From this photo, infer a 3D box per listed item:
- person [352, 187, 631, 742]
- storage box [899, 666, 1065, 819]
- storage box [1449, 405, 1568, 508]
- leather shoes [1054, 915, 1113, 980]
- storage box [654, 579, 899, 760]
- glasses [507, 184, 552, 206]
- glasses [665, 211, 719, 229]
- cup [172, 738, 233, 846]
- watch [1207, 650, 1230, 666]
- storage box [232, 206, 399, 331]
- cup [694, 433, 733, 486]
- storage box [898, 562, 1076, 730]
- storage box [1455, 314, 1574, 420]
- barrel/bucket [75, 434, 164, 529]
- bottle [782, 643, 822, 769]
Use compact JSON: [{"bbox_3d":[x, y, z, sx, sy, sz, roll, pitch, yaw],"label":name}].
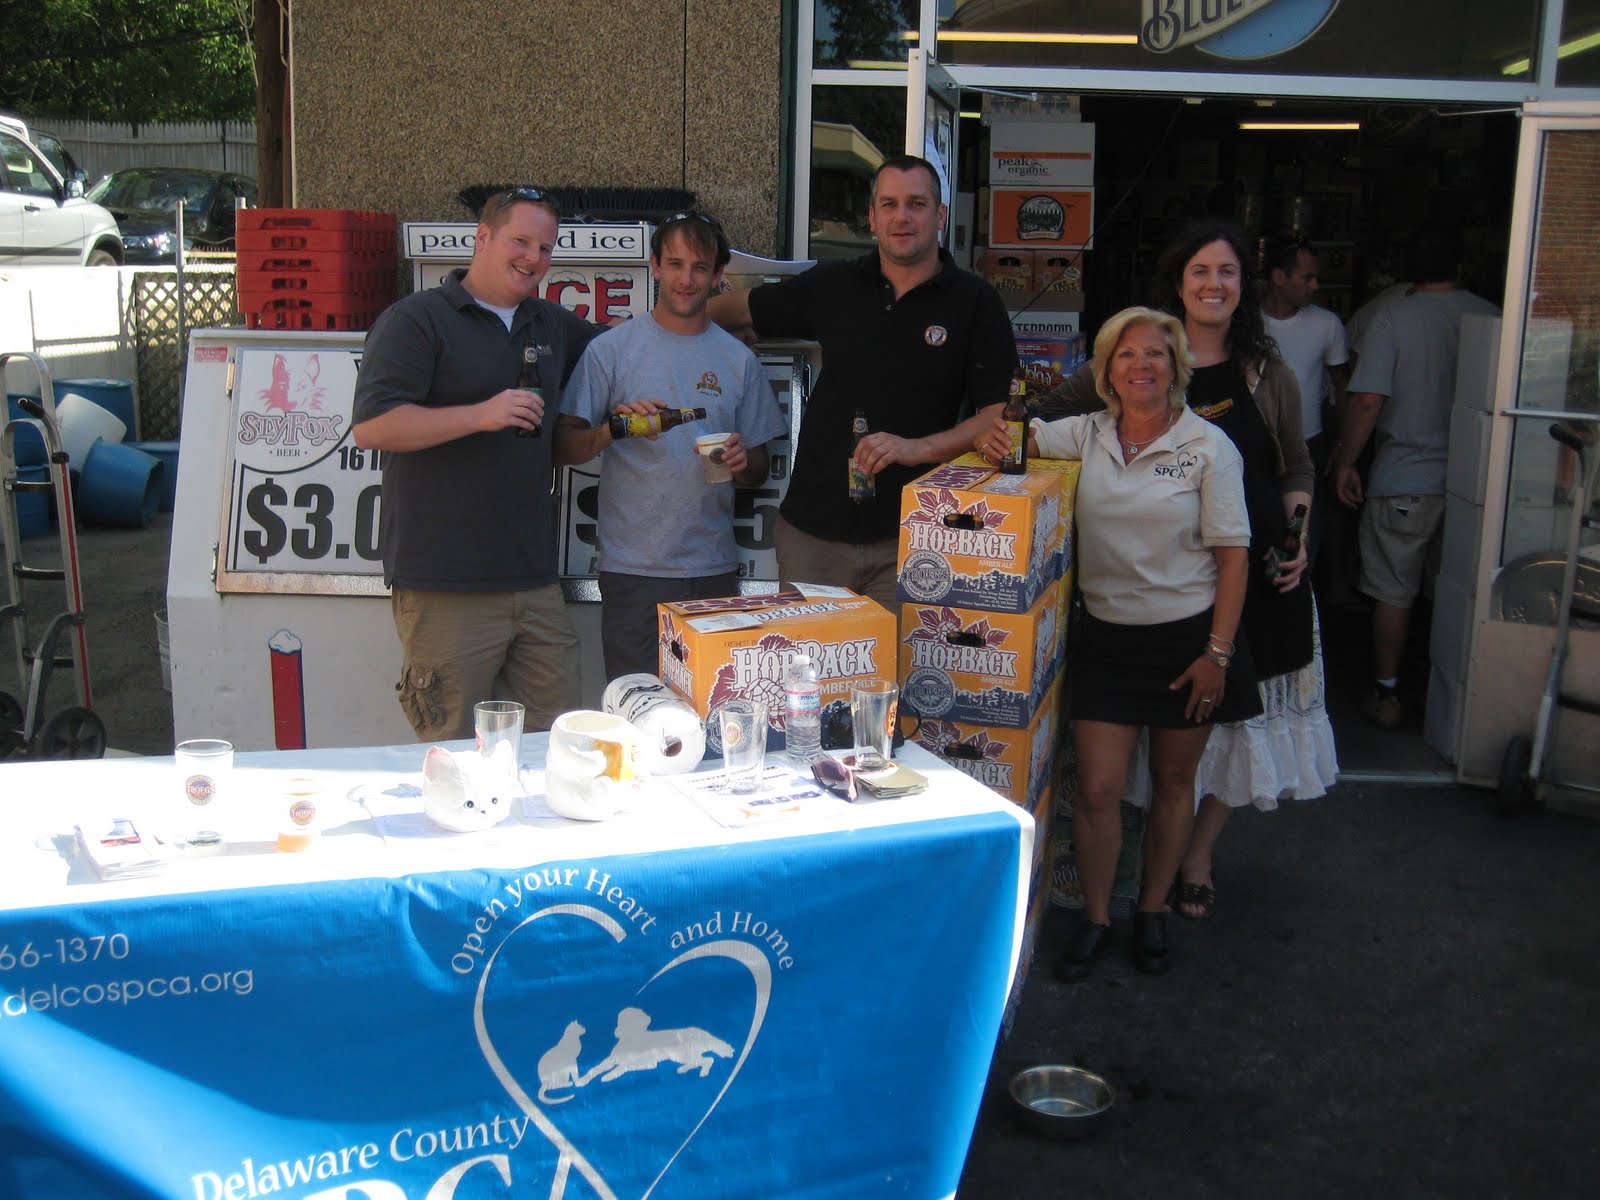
[{"bbox_3d":[-1.087,-0.418,4.570,0.682,1.827,0.664,-4,13,-11],"label":"person"},{"bbox_3d":[0.546,0.396,4.300,0.393,0.273,0.427,5,15,24],"label":"storage box"},{"bbox_3d":[3.254,-0.656,6.397,0.270,0.393,0.401,-3,3,16],"label":"storage box"},{"bbox_3d":[1.009,1.221,4.876,0.101,0.139,0.317,-1,2,33],"label":"leather shoes"},{"bbox_3d":[-0.067,0.158,3.822,0.682,0.397,0.464,-1,6,-22],"label":"storage box"},{"bbox_3d":[-0.880,-1.336,4.529,0.129,0.059,0.269,-4,14,-12],"label":"glasses"},{"bbox_3d":[-0.391,-1.373,4.919,0.163,0.071,0.665,-2,14,-5],"label":"glasses"},{"bbox_3d":[-1.384,0.429,3.205,0.123,0.185,0.277,-7,15,-22],"label":"cup"},{"bbox_3d":[1.390,0.183,4.552,0.063,0.046,0.060,23,-5,4],"label":"watch"},{"bbox_3d":[-2.220,-1.484,6.114,0.555,0.432,0.588,-1,17,23],"label":"storage box"},{"bbox_3d":[-0.286,-0.493,4.694,0.140,0.119,0.148,-1,4,0],"label":"cup"},{"bbox_3d":[0.609,0.142,4.403,0.397,0.287,0.586,5,14,22],"label":"storage box"},{"bbox_3d":[3.299,-1.146,6.291,0.397,0.407,0.290,-13,30,-35],"label":"storage box"},{"bbox_3d":[-5.523,-0.990,11.462,0.535,0.721,0.746,7,11,12],"label":"barrel/bucket"},{"bbox_3d":[0.009,0.289,3.708,0.139,0.328,0.146,-1,18,0],"label":"bottle"}]
